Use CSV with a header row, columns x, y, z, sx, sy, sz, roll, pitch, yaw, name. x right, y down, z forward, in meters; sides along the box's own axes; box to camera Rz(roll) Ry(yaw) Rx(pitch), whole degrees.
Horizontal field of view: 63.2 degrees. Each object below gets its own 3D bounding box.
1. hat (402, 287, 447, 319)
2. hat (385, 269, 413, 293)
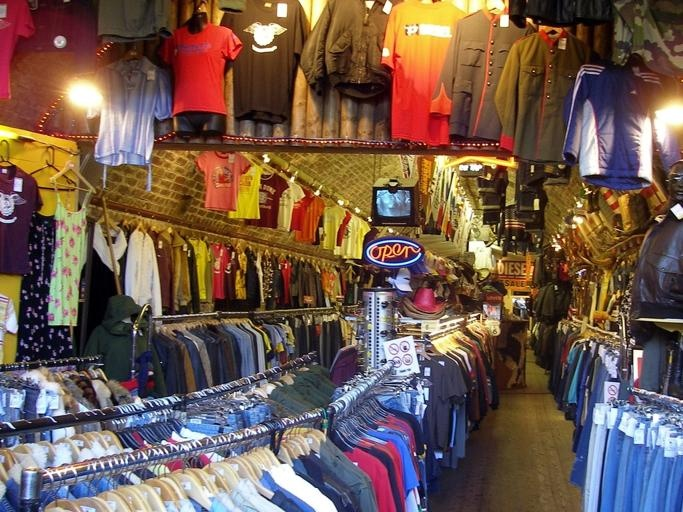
x,y,z,sx,sy,sz,roll,pitch,yaw,name
0.824,0.491,5.686,0.401,0.332,0.634,0,-5,16,hat
0.623,0.270,5.611,0.241,0.167,0.256,36,-18,-32,hat
